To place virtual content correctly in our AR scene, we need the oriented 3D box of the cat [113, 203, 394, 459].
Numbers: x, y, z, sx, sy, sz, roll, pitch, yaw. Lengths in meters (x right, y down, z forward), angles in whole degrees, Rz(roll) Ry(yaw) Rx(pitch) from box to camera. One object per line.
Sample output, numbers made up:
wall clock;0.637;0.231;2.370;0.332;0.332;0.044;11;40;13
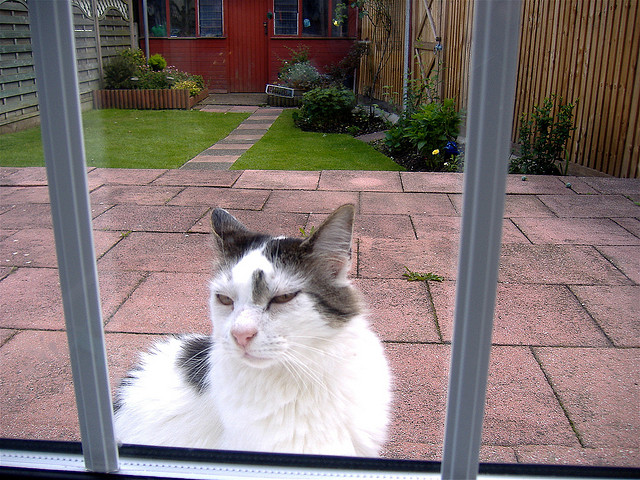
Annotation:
cat;-0.240;0.287;2.156;1.272;0.798;0.944;-1;-16;5
